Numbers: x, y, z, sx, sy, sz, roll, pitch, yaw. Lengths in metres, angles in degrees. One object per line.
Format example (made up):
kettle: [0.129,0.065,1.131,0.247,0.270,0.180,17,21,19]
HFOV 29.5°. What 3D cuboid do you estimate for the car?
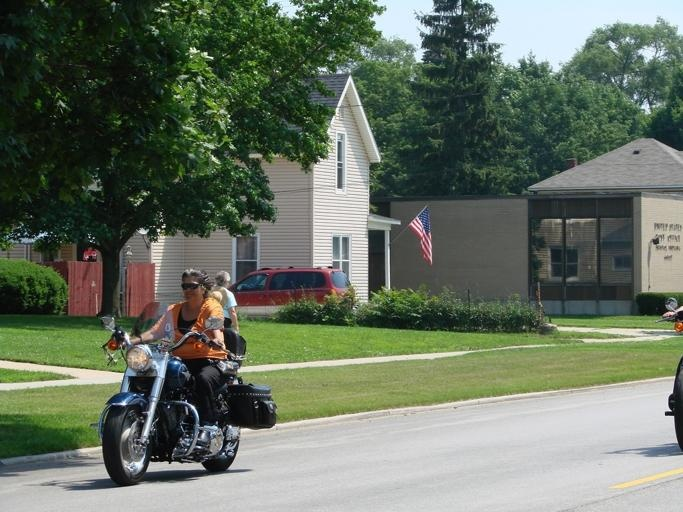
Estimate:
car: [-1.707,1.166,40.936,3.389,1.166,1.637,0,-2,19]
